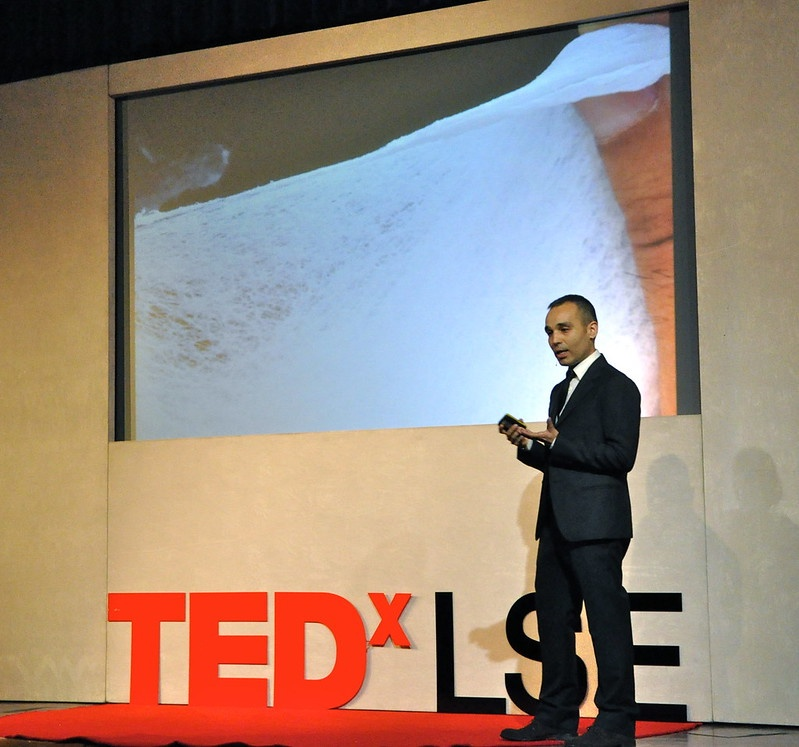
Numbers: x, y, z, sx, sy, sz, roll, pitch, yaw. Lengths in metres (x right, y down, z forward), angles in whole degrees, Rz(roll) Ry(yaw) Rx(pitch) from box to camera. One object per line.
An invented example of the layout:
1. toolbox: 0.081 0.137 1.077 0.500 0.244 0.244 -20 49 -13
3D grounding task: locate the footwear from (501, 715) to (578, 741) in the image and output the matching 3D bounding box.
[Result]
1. footwear: 0.534 1.360 6.929 0.315 0.117 0.109 -1 -15 11
